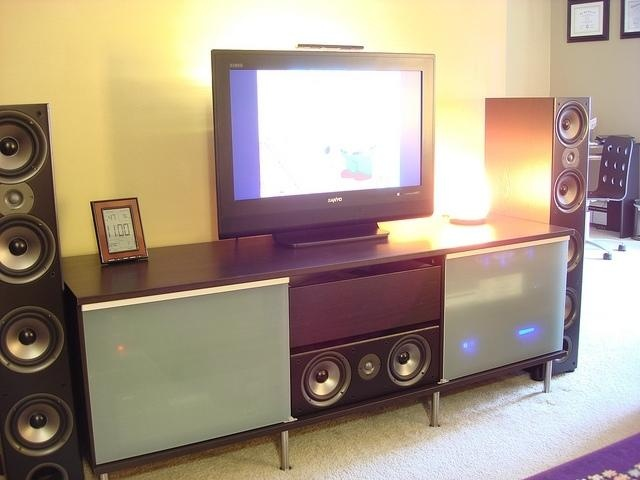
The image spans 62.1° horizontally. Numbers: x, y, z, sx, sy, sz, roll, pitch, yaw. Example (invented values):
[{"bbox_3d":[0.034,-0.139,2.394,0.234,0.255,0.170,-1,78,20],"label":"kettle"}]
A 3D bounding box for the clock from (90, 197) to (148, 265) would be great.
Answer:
[{"bbox_3d":[-0.876,-0.034,2.291,0.219,0.328,0.034,-12,1,-29],"label":"clock"}]

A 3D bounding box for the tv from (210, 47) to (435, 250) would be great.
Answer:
[{"bbox_3d":[-0.025,-0.435,2.485,0.848,0.723,0.210,-5,9,-26],"label":"tv"}]
